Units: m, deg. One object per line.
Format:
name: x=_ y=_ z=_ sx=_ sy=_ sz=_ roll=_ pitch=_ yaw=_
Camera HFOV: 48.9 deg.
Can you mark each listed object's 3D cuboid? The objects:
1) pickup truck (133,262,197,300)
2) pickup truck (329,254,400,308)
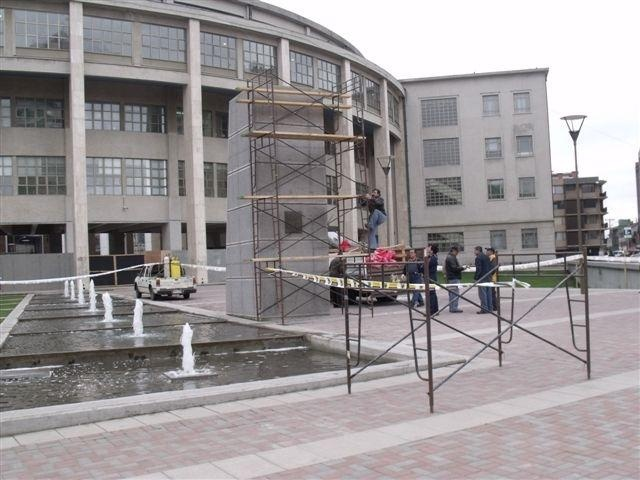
pickup truck: x=-7.585 y=1.967 z=34.613 sx=2.075 sy=1.963 sz=3.226 roll=-1 pitch=1 yaw=-31
pickup truck: x=1.630 y=1.510 z=25.411 sx=3.548 sy=1.678 sz=1.774 roll=-3 pitch=18 yaw=-7
